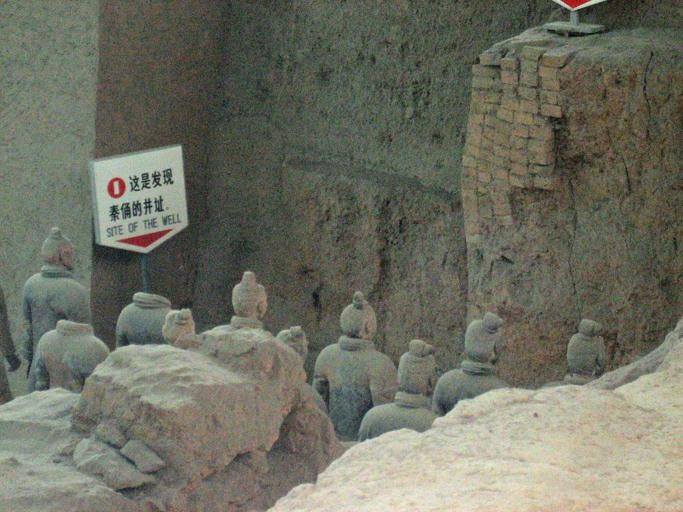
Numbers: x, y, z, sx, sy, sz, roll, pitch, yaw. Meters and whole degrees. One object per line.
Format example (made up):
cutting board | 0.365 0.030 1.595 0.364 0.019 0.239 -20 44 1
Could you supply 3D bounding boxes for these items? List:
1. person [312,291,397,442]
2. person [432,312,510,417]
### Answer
person | 0.109 0.889 21.208 0.753 1.448 0.443 9 14 35
person | 1.005 0.838 20.710 0.558 0.942 0.386 4 7 25
